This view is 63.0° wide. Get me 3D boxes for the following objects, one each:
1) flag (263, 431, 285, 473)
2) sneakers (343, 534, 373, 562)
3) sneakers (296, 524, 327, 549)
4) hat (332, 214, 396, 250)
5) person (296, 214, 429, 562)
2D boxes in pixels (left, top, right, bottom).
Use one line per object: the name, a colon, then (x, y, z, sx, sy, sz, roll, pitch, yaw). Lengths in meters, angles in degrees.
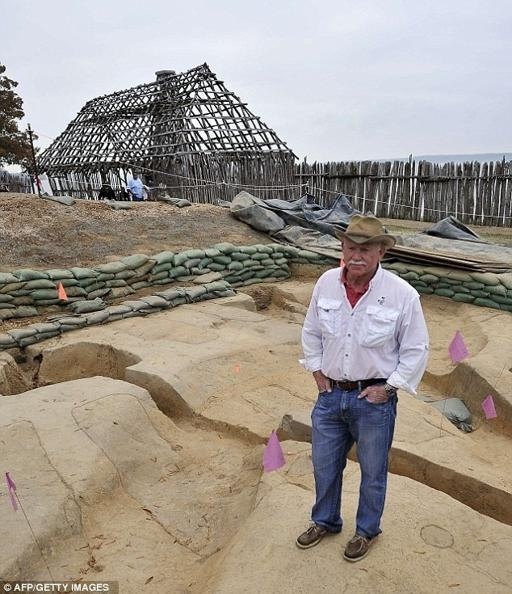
flag: (0.104, 0.957, 2.631, 0.155, 0.231, 0.115, -1, -9, 17)
sneakers: (0.506, 1.221, 2.044, 0.072, 0.066, 0.192, 0, -3, 35)
sneakers: (0.298, 1.253, 2.240, 0.080, 0.072, 0.217, 0, -5, 40)
hat: (0.585, -0.336, 2.064, 0.198, 0.083, 0.213, 15, -4, 27)
person: (0.500, 0.464, 2.096, 0.645, 1.706, 0.335, 4, 7, 22)
